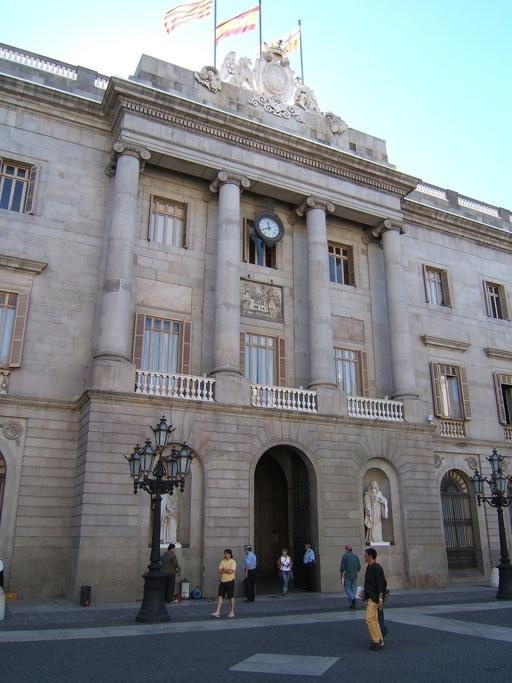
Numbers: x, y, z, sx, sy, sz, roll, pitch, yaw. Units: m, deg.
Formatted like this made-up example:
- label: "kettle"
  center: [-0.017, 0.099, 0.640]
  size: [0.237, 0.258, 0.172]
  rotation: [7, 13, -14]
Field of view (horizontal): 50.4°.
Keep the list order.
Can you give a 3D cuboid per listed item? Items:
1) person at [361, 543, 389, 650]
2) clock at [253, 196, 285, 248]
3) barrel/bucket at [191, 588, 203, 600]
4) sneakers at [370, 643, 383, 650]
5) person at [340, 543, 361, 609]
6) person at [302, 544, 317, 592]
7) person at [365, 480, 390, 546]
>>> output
- label: "person"
  center: [1.951, 4.211, 8.901]
  size: [0.387, 1.573, 1.122]
  rotation: [-4, -14, 12]
- label: "clock"
  center: [0.494, -5.330, 24.184]
  size: [1.521, 2.363, 0.638]
  rotation: [10, -17, -36]
- label: "barrel/bucket"
  center: [-1.786, 7.740, 16.643]
  size: [0.303, 0.385, 0.328]
  rotation: [-1, -28, -1]
- label: "sneakers"
  center: [1.892, 4.807, 8.576]
  size: [0.202, 0.108, 0.265]
  rotation: [-3, -14, 8]
- label: "person"
  center: [2.567, 6.500, 14.995]
  size: [0.503, 1.621, 1.133]
  rotation: [-3, -14, 9]
- label: "person"
  center: [1.908, 8.086, 19.448]
  size: [0.425, 1.625, 1.290]
  rotation: [-2, -14, 5]
- label: "person"
  center: [4.632, 6.672, 21.093]
  size: [1.141, 2.396, 0.559]
  rotation: [9, -17, -35]
